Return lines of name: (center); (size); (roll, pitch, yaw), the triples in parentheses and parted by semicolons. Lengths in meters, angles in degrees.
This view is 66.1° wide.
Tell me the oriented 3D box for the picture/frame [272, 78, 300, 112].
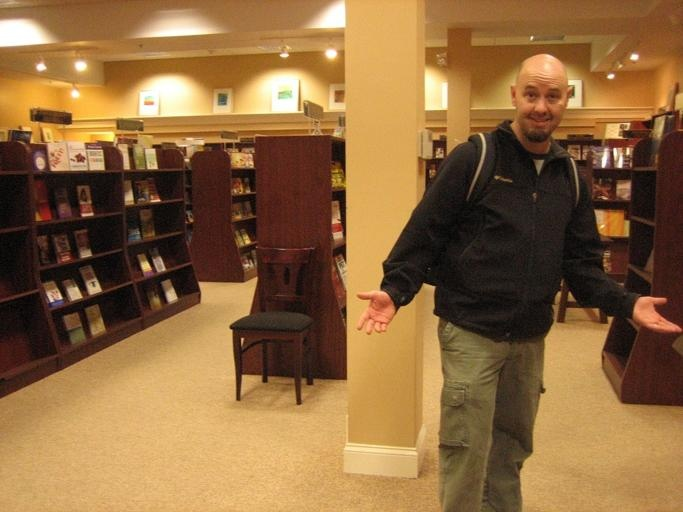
picture/frame: (-1.416, -4.095, 13.367); (0.897, 1.080, 0.080); (2, 2, 8)
